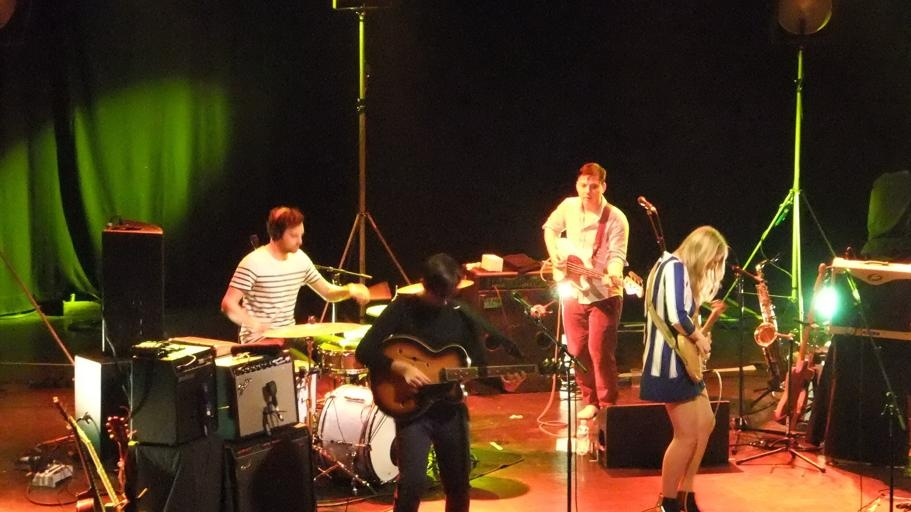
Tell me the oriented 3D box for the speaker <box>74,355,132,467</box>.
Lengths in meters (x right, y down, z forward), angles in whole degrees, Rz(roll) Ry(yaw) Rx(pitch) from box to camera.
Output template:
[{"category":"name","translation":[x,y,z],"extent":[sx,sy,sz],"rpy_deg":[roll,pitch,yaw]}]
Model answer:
[{"category":"speaker","translation":[-4.539,1.956,10.939],"extent":[0.754,1.375,0.252],"rpy_deg":[2,1,16]}]

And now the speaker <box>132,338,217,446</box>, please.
[{"category":"speaker","translation":[-3.203,1.527,10.101],"extent":[1.151,1.345,0.955],"rpy_deg":[-1,0,17]}]

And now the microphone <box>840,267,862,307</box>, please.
[{"category":"microphone","translation":[4.969,0.374,10.751],"extent":[0.101,0.470,0.187],"rpy_deg":[-21,18,7]}]

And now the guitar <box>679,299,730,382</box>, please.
[{"category":"guitar","translation":[2.932,0.979,10.099],"extent":[0.482,0.694,0.875],"rpy_deg":[2,1,24]}]

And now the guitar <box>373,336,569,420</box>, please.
[{"category":"guitar","translation":[0.123,1.261,9.084],"extent":[1.982,0.845,0.274],"rpy_deg":[-4,-3,-6]}]

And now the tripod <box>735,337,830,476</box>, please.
[{"category":"tripod","translation":[4.427,2.097,11.600],"extent":[0.993,1.947,0.881],"rpy_deg":[1,1,8]}]

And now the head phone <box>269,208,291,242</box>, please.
[{"category":"head phone","translation":[-2.172,-0.453,10.637],"extent":[0.305,0.382,0.384],"rpy_deg":[1,24,0]}]

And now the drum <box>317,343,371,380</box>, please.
[{"category":"drum","translation":[-1.441,1.246,10.988],"extent":[0.585,0.239,0.598],"rpy_deg":[11,6,-1]}]

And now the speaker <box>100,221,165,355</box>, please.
[{"category":"speaker","translation":[-3.901,0.345,10.205],"extent":[0.611,1.664,0.649],"rpy_deg":[0,-4,45]}]

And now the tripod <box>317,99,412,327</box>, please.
[{"category":"tripod","translation":[-1.518,-0.549,13.656],"extent":[1.501,4.333,1.321],"rpy_deg":[0,0,-9]}]
